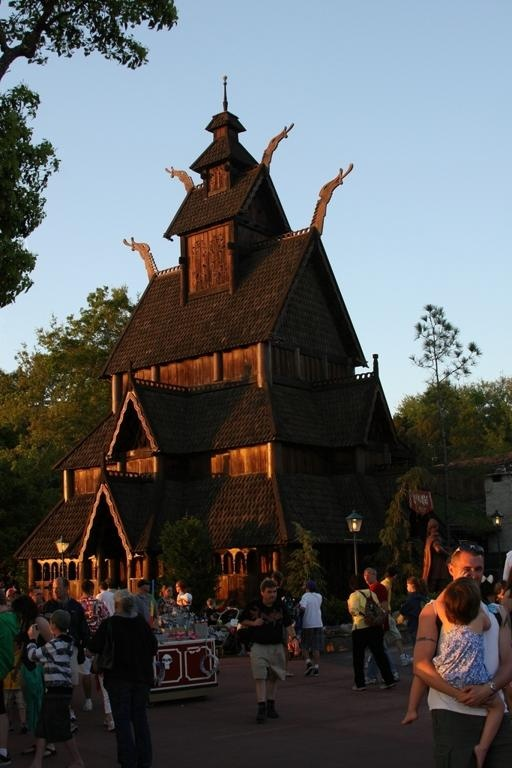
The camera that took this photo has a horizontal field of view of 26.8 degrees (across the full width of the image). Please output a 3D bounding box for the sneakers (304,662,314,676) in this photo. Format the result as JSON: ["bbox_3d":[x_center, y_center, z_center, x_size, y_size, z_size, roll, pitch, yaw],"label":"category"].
[{"bbox_3d":[0.915,4.871,18.448,0.133,0.211,0.305,4,-22,-9],"label":"sneakers"}]

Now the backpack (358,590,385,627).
[{"bbox_3d":[1.643,3.253,15.449,0.276,0.412,0.429,5,-8,-31],"label":"backpack"}]

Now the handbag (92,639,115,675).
[{"bbox_3d":[-1.486,2.632,10.491,0.142,0.389,0.415,22,-21,-16],"label":"handbag"}]
